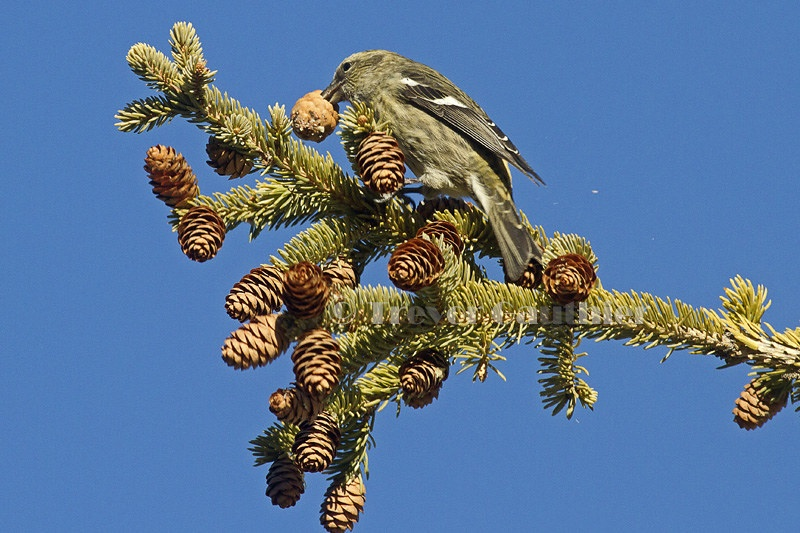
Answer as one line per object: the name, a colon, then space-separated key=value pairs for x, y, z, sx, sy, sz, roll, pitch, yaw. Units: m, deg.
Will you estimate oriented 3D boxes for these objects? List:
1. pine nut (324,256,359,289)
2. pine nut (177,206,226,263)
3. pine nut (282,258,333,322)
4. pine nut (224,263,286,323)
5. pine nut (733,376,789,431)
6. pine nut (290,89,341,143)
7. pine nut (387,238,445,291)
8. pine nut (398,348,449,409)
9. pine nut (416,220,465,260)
pine nut: x=-0.303 y=0.030 z=9.101 sx=0.173 sy=0.115 sz=0.154 roll=21 pitch=55 yaw=-44
pine nut: x=-1.083 y=-0.176 z=8.995 sx=0.262 sy=0.251 sz=0.375 roll=1 pitch=71 yaw=-3
pine nut: x=-0.481 y=0.126 z=8.603 sx=0.259 sy=0.304 sz=0.268 roll=-4 pitch=61 yaw=0
pine nut: x=-0.704 y=0.149 z=8.196 sx=0.316 sy=0.181 sz=0.167 roll=-35 pitch=96 yaw=-30
pine nut: x=1.983 y=0.724 z=9.079 sx=0.320 sy=0.195 sz=0.222 roll=-42 pitch=78 yaw=-15
pine nut: x=-0.476 y=-0.838 z=9.216 sx=0.240 sy=0.183 sz=0.282 roll=43 pitch=74 yaw=10
pine nut: x=0.076 y=-0.013 z=8.599 sx=0.191 sy=0.347 sz=0.179 roll=-43 pitch=80 yaw=24
pine nut: x=0.121 y=0.576 z=8.825 sx=0.253 sy=0.220 sz=0.320 roll=6 pitch=71 yaw=-1
pine nut: x=0.224 y=-0.169 z=9.078 sx=0.203 sy=0.118 sz=0.209 roll=-14 pitch=94 yaw=-22
